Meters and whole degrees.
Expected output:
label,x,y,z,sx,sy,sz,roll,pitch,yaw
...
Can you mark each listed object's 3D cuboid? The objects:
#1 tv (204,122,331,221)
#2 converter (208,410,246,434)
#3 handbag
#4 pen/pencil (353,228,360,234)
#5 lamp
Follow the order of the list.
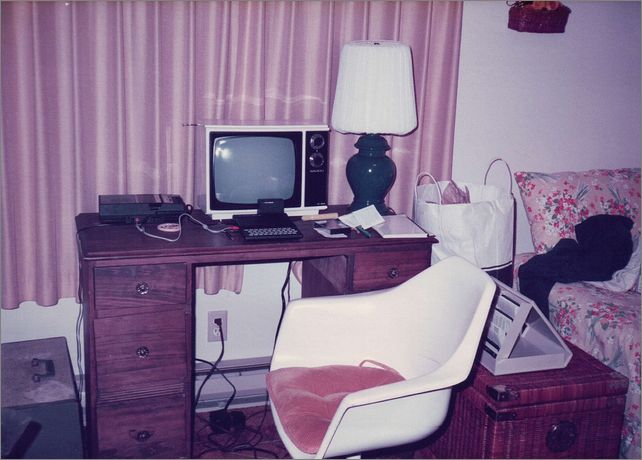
label,x,y,z,sx,sy,sz,roll,pitch,yaw
tv,-0.273,-0.266,2.439,0.566,0.410,0.321,-3,11,-17
converter,-0.450,0.900,2.492,0.125,0.088,0.030,1,-7,-4
handbag,0.671,-0.007,2.513,0.338,0.472,0.293,26,-10,-9
pen/pencil,0.155,0.002,2.280,0.021,0.007,0.029,16,6,-6
lamp,0.239,-0.464,2.399,0.386,0.792,0.199,-1,9,0
